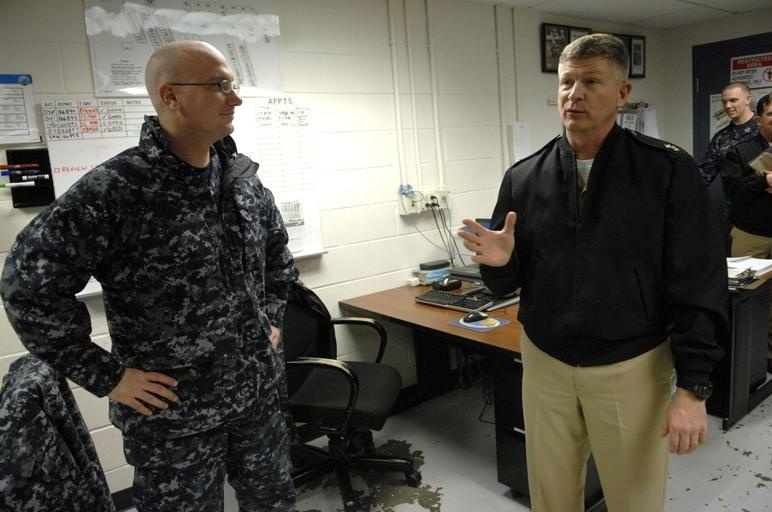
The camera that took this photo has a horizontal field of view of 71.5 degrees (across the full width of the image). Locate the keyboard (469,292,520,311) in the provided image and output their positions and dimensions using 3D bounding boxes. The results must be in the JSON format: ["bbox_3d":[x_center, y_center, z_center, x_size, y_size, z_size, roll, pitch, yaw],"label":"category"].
[{"bbox_3d":[0.678,0.271,3.190,0.228,0.049,0.122,-22,17,-39],"label":"keyboard"}]

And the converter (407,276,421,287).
[{"bbox_3d":[0.193,0.178,3.782,0.067,0.055,0.080,-2,4,-45],"label":"converter"}]

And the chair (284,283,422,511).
[{"bbox_3d":[-0.237,0.713,2.963,0.710,1.213,0.651,-10,12,-12],"label":"chair"}]

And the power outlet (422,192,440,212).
[{"bbox_3d":[0.318,-0.386,3.826,0.097,0.119,0.045,-2,8,-30],"label":"power outlet"}]

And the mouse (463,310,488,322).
[{"bbox_3d":[0.498,0.332,3.014,0.106,0.032,0.061,-7,12,-28],"label":"mouse"}]

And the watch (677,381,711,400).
[{"bbox_3d":[1.071,0.462,1.870,0.068,0.042,0.078,-7,7,-41],"label":"watch"}]
